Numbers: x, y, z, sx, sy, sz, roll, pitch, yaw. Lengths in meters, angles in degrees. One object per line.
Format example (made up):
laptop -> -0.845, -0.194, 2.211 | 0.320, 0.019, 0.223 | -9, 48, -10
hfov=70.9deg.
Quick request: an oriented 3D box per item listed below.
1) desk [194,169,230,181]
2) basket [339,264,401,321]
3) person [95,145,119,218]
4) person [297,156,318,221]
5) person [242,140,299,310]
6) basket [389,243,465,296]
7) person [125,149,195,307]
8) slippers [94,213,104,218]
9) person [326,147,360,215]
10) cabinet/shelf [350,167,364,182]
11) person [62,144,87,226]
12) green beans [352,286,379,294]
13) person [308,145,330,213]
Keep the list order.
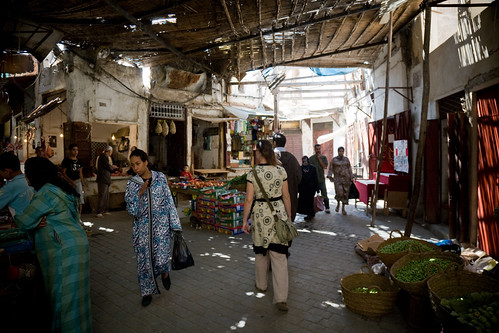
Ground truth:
desk -> -1.460, 0.319, 13.739 | 1.244, 0.542, 1.577 | -1, 13, 1
basket -> 1.940, 2.070, 5.714 | 0.870, 0.577, 0.575 | 1, 13, 11
person -> -4.511, 0.445, 11.189 | 0.616, 2.154, 0.768 | 1, -2, -37
person -> 1.604, 0.618, 9.949 | 0.781, 1.759, 0.491 | -6, 5, -8
person -> 0.404, 0.912, 6.038 | 0.814, 2.690, 1.028 | -4, 3, -37
basket -> 2.795, 1.629, 5.580 | 1.345, 0.736, 0.759 | -7, 0, 17
person -> -1.539, 1.042, 6.062 | 1.096, 2.504, 0.751 | -4, 1, -14
slippers -> -4.677, 1.524, 10.917 | 0.212, 0.087, 0.356 | -8, 14, -26
person -> 2.893, 0.442, 10.932 | 0.907, 2.155, 0.857 | 1, 13, 10
cabinet/shelf -> 4.500, 0.303, 14.651 | 0.459, 0.536, 0.565 | -2, 2, -16
person -> -4.910, 0.511, 9.914 | 0.685, 2.267, 0.635 | 8, 11, 31
green beans -> 1.883, 2.003, 5.679 | 0.220, 0.051, 0.240 | -3, -1, 44
person -> 2.213, 0.378, 11.140 | 0.763, 2.155, 0.729 | -2, -2, 9
